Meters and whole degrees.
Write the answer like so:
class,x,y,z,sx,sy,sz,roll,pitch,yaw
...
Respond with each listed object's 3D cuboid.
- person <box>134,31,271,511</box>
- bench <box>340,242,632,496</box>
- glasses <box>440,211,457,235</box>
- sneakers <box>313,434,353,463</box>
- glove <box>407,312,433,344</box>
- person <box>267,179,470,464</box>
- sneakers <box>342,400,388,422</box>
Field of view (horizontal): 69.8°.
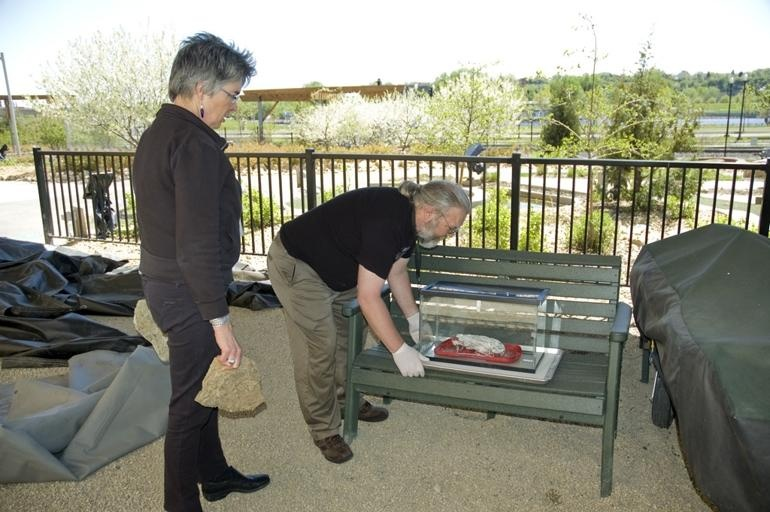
class,x,y,z,sx,sy,sz,roll,pitch,yaw
person,-1.044,0.205,3.155,0.641,2.873,0.450,-4,13,-24
bench,0.693,0.835,3.843,1.522,1.046,0.728,3,12,13
glasses,0.429,-0.215,3.608,0.036,0.120,0.117,-12,-12,13
sneakers,-0.366,1.334,3.879,0.151,0.125,0.270,-17,26,-41
glove,0.252,0.514,4.042,0.080,0.254,0.147,12,-39,-44
person,-0.200,0.461,3.775,1.236,1.960,0.368,4,12,15
sneakers,-0.140,1.217,4.297,0.361,0.153,0.152,-1,10,4
